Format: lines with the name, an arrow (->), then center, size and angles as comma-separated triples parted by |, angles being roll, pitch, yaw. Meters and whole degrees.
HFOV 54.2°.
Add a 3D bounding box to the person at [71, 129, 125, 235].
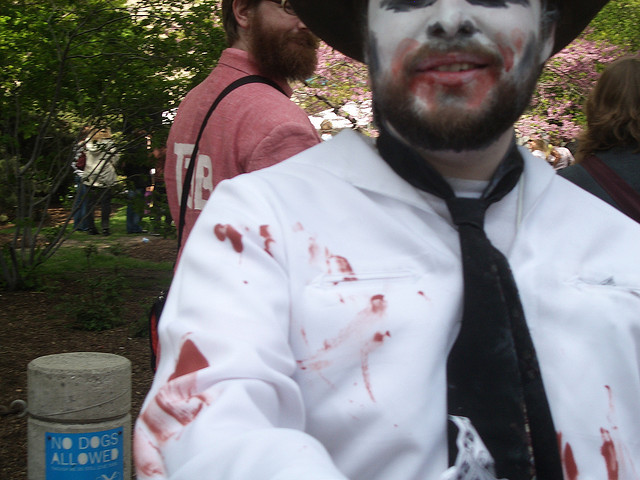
person -> -2.538, -0.779, 7.164 | 0.541, 1.078, 1.479 | -2, 16, -21
